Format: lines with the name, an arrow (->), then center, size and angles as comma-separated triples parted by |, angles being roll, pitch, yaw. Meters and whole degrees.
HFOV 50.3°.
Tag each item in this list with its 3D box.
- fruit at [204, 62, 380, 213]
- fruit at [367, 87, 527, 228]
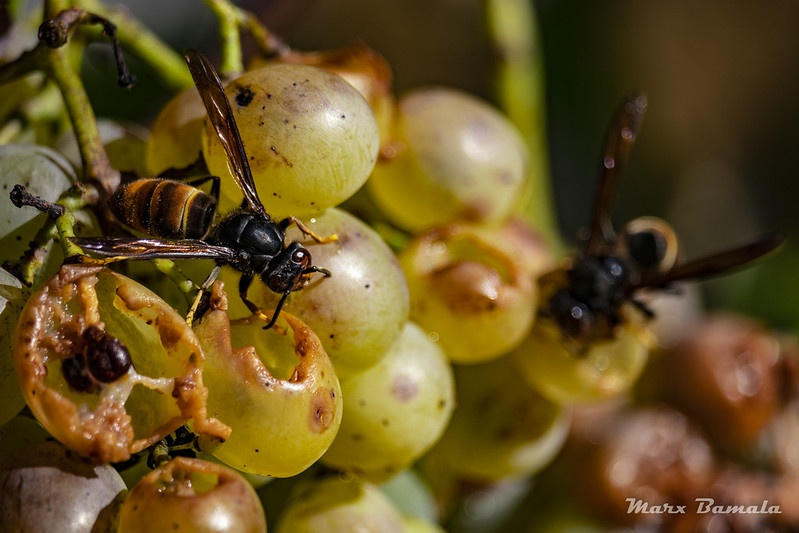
fruit -> -0.184, -0.194, 1.452 | 0.257, 0.216, 0.217 | 9, 48, -22
fruit -> 0.111, -0.203, 1.652 | 0.303, 0.242, 0.264 | 12, -52, 22
